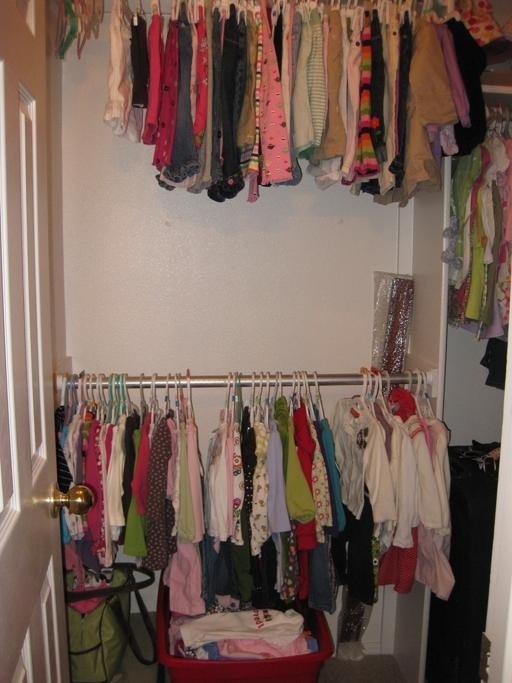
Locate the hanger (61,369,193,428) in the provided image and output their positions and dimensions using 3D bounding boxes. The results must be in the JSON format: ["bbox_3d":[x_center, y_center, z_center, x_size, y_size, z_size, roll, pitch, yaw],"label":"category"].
[{"bbox_3d":[-0.404,0.169,1.893,0.434,0.147,0.173,-2,3,5],"label":"hanger"}]

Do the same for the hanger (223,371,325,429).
[{"bbox_3d":[0.077,0.166,2.059,0.350,0.181,0.582,-2,4,10],"label":"hanger"}]
